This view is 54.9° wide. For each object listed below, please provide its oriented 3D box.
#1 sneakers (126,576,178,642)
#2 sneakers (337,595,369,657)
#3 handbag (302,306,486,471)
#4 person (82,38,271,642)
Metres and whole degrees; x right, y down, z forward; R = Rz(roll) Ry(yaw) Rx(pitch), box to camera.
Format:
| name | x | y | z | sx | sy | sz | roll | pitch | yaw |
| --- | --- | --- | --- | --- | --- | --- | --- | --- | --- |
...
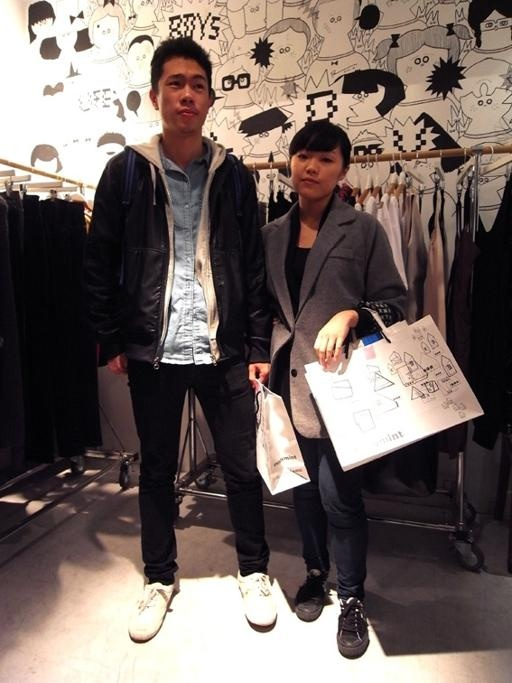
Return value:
| name | x | y | z | sx | sy | sz | roll | pitch | yaw |
| --- | --- | --- | --- | --- | --- | --- | --- | --- | --- |
| sneakers | -0.322 | 0.833 | 1.556 | 0.087 | 0.104 | 0.272 | 2 | 2 | 10 |
| sneakers | 0.270 | 0.826 | 1.393 | 0.058 | 0.081 | 0.178 | -1 | 20 | 8 |
| handbag | 0.365 | 0.129 | 1.357 | 0.383 | 0.416 | 0.132 | -26 | -13 | 4 |
| person | -0.220 | -0.001 | 1.511 | 0.545 | 1.756 | 0.261 | -1 | 4 | -6 |
